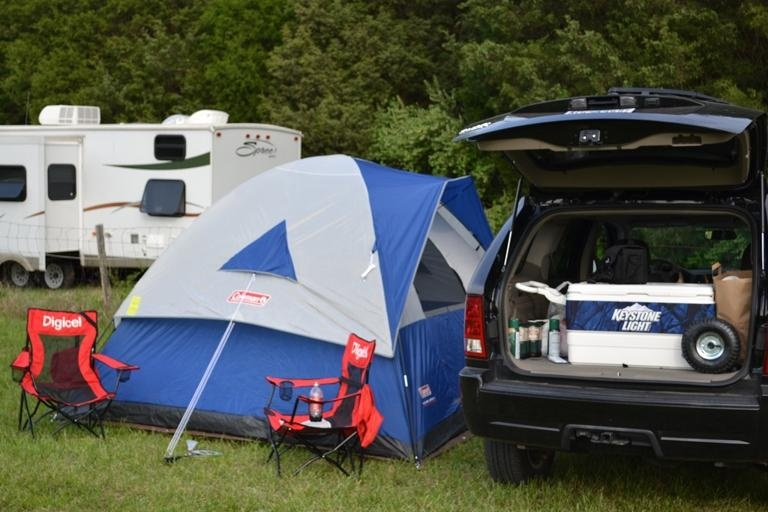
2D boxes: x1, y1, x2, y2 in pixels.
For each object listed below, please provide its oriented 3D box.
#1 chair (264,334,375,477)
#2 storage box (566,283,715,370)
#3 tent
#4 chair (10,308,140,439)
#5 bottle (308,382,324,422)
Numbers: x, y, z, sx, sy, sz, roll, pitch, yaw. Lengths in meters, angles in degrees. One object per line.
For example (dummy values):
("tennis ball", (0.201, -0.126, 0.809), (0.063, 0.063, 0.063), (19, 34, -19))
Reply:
("chair", (-0.626, 1.460, 8.573), (1.121, 1.368, 1.282), (7, -2, -34))
("storage box", (2.300, 0.461, 8.114), (1.272, 0.845, 0.829), (2, 23, 9))
("tent", (-0.957, 0.358, 9.595), (3.045, 2.127, 3.237), (2, 9, 25))
("chair", (-3.309, 1.289, 9.106), (1.170, 1.339, 0.988), (3, 7, -31))
("bottle", (-0.685, 1.419, 8.689), (0.148, 0.289, 0.518), (4, 2, -4))
